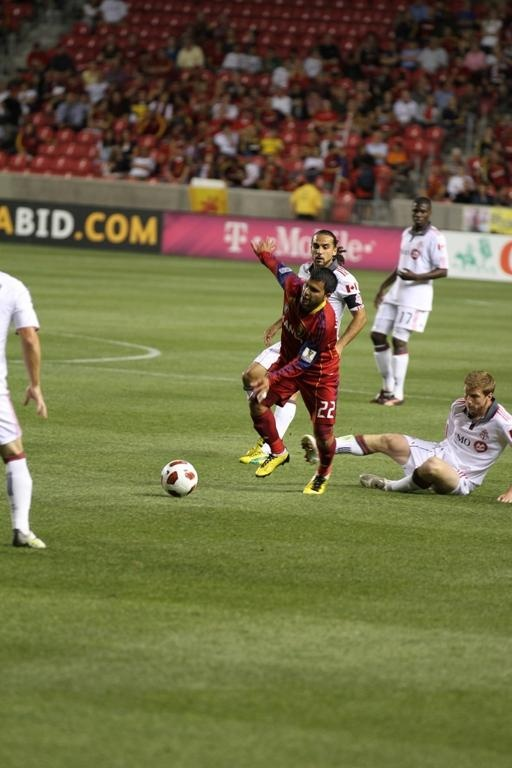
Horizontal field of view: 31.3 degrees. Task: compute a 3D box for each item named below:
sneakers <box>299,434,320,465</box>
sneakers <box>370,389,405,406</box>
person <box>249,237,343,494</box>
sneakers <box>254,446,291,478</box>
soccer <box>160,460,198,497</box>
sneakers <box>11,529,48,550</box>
[{"bbox_3d":[0.336,0.427,5.980,0.099,0.179,0.125,-8,-5,33],"label":"sneakers"},{"bbox_3d":[1.329,0.156,9.392,0.172,0.112,0.298,0,-6,-13],"label":"sneakers"},{"bbox_3d":[0.282,-0.022,5.958,0.587,1.500,0.926,8,13,3],"label":"person"},{"bbox_3d":[0.104,0.551,6.452,0.284,0.132,0.093,-35,36,-1],"label":"sneakers"},{"bbox_3d":[-0.472,0.589,5.663,0.240,0.231,0.189,2,13,-18],"label":"soccer"},{"bbox_3d":[-1.129,0.760,4.469,0.233,0.075,0.070,8,7,-20],"label":"sneakers"}]
